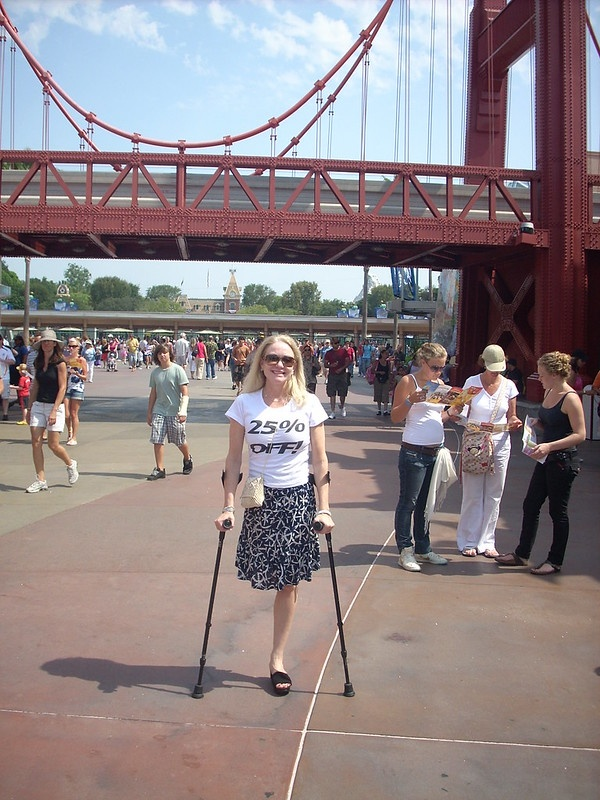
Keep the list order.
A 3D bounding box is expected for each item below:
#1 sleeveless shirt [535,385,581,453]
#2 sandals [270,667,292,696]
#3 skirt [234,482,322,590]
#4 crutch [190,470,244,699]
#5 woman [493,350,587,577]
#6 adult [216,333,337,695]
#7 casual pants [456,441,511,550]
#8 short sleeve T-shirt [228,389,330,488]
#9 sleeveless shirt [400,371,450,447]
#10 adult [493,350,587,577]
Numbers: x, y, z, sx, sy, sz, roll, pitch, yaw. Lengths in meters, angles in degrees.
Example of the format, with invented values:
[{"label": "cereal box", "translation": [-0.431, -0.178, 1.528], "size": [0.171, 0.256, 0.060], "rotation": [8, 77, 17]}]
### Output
[{"label": "sleeveless shirt", "translation": [1.751, 0.154, 6.001], "size": [0.306, 0.458, 0.359], "rotation": [2, 5, 15]}, {"label": "sandals", "translation": [-0.094, 1.284, 4.025], "size": [0.072, 0.073, 0.211], "rotation": [-1, -7, -5]}, {"label": "skirt", "translation": [-0.107, 0.633, 4.116], "size": [0.378, 0.493, 0.225], "rotation": [1, 5, -3]}, {"label": "crutch", "translation": [-0.391, 0.845, 4.088], "size": [0.058, 0.745, 0.055], "rotation": [0, -20, 23]}, {"label": "woman", "translation": [1.681, 0.412, 6.135], "size": [0.496, 1.504, 0.551], "rotation": [2, 5, 14]}, {"label": "adult", "translation": [-0.126, 0.521, 4.162], "size": [0.513, 1.632, 0.459], "rotation": [0, 2, 1]}, {"label": "casual pants", "translation": [1.342, 0.662, 6.539], "size": [0.332, 0.989, 0.242], "rotation": [-3, 16, 2]}, {"label": "short sleeve T-shirt", "translation": [-0.117, 0.169, 4.217], "size": [0.476, 0.447, 0.254], "rotation": [3, 13, 2]}, {"label": "sleeveless shirt", "translation": [0.838, 0.120, 6.091], "size": [0.275, 0.393, 0.220], "rotation": [1, 5, 4]}, {"label": "adult", "translation": [1.681, 0.412, 6.138], "size": [0.493, 1.504, 0.556], "rotation": [2, 5, 13]}]
